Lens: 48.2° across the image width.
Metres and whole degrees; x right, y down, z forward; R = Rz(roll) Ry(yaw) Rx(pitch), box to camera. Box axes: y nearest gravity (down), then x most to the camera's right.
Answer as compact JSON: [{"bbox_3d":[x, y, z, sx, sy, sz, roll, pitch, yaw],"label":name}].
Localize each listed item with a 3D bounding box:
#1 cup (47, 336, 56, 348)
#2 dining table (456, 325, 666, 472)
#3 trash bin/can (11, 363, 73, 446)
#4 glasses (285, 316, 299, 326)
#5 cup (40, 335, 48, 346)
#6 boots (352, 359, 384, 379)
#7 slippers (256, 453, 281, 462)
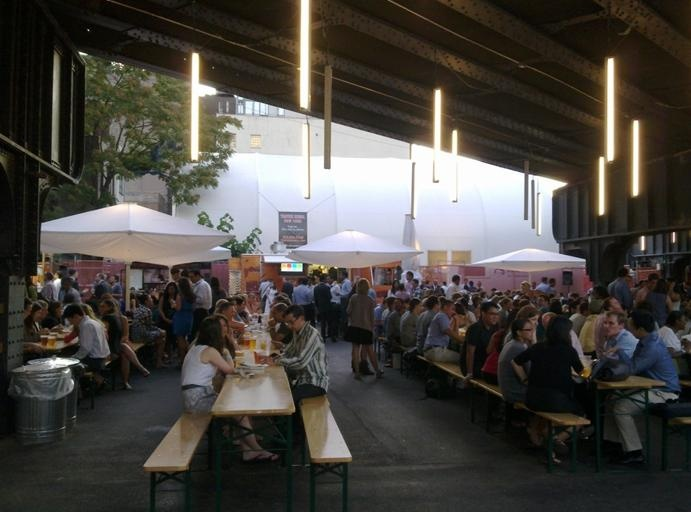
[{"bbox_3d":[-5.254,1.524,13.789,0.248,0.193,0.147,-1,-5,-17],"label":"cup"},{"bbox_3d":[3.430,1.936,11.448,1.912,2.097,0.778,-1,1,11],"label":"dining table"},{"bbox_3d":[-4.711,2.305,11.969,1.013,1.278,1.075,0,-8,-6],"label":"trash bin/can"},{"bbox_3d":[-0.813,0.994,11.684,0.125,0.079,0.171,8,-38,23],"label":"glasses"},{"bbox_3d":[-5.413,1.517,13.888,0.150,0.233,0.151,-2,-9,0],"label":"cup"},{"bbox_3d":[0.409,2.512,17.055,0.818,0.595,0.283,-5,-5,-5],"label":"boots"},{"bbox_3d":[-1.171,2.940,11.335,0.456,0.121,0.123,0,9,10],"label":"slippers"}]
